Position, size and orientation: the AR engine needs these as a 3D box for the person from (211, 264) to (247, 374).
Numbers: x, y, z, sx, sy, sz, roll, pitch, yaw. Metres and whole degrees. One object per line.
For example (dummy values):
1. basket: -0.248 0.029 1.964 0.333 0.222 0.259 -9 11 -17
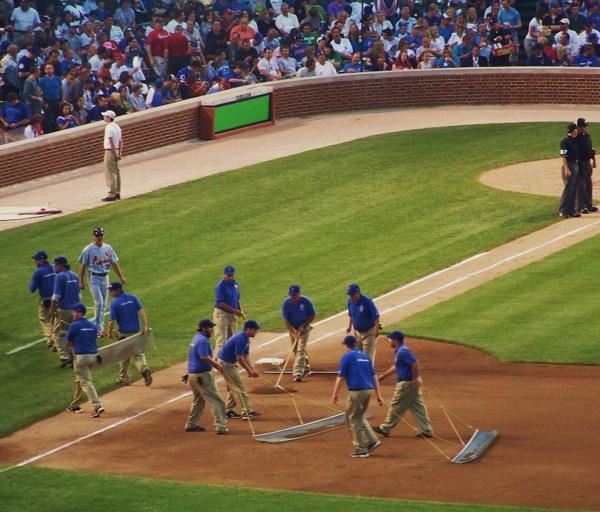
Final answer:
1. person: -1.367 2.636 39.955 1.203 2.255 0.819 4 2 17

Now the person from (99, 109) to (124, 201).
1. person: -5.463 -2.892 50.076 0.647 2.692 1.453 -5 12 -6

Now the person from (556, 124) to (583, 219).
1. person: 7.490 -2.340 48.718 0.668 2.637 0.542 12 21 28

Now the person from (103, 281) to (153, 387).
1. person: -3.996 1.859 41.392 1.143 2.459 0.975 -3 18 -28

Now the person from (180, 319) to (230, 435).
1. person: -2.223 2.704 39.587 0.953 2.580 1.342 -4 12 -3

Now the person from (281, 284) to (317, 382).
1. person: -0.010 1.789 41.594 0.765 2.358 0.849 -4 12 0

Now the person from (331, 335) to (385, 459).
1. person: 1.288 3.106 38.369 1.322 2.454 1.102 7 10 2

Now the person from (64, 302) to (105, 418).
1. person: -4.967 2.466 40.210 0.715 2.562 1.000 -14 16 -41

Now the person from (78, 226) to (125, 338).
1. person: -4.887 0.706 43.473 0.975 2.670 1.291 0 2 -9
